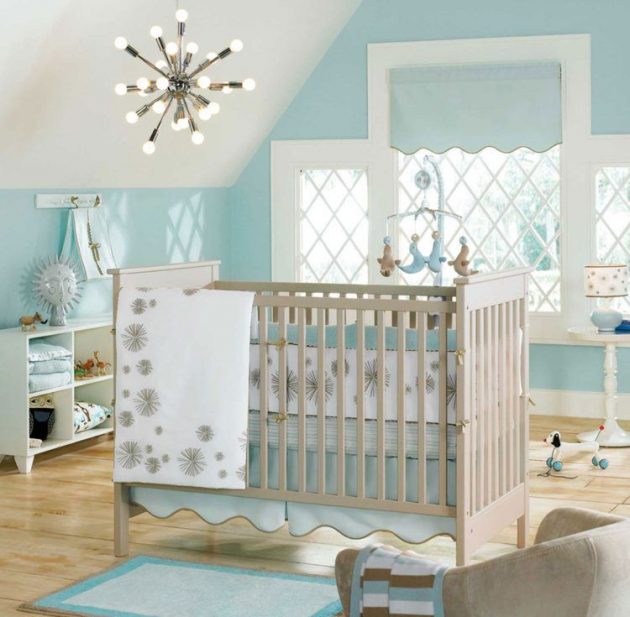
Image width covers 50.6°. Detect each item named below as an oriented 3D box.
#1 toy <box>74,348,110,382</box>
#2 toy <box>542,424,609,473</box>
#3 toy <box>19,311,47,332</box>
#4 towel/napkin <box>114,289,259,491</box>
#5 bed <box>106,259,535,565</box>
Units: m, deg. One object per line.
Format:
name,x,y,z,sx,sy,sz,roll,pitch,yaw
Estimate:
toy,-1.292,0.334,3.872,0.104,0.164,0.185,-1,-3,45
toy,1.381,0.722,3.479,0.358,0.307,0.184,1,-3,6
toy,-1.533,0.073,3.544,0.178,0.125,0.078,-3,1,7
towel/napkin,-0.444,0.263,2.254,0.603,0.908,0.069,1,2,14
bed,0.114,0.372,2.415,1.247,1.012,0.686,1,4,21
